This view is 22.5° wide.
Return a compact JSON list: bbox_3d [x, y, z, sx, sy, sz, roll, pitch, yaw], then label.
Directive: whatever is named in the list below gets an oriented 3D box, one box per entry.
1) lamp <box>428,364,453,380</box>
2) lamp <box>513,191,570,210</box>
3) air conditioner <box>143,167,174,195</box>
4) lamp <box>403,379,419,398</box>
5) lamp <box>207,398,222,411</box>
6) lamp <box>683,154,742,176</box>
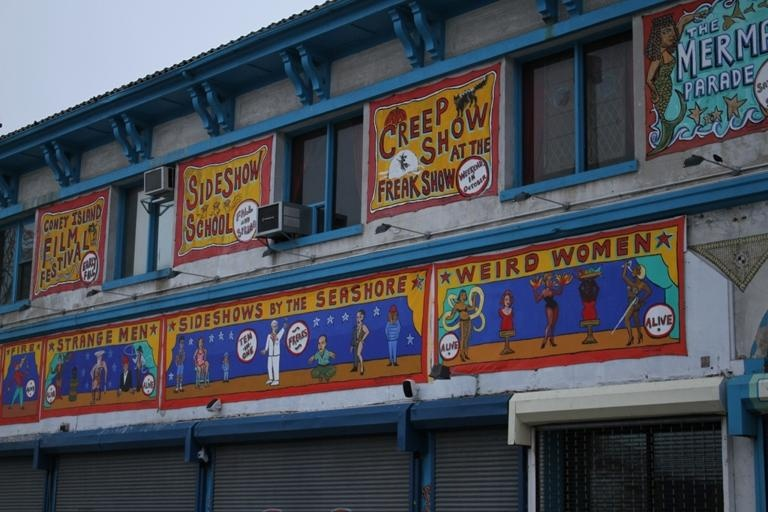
[{"bbox_3d":[1.202,2.502,41.707,0.296,0.337,0.384,24,-18,-38],"label":"lamp"},{"bbox_3d":[3.350,-1.274,41.150,0.810,0.255,0.497,20,-8,-20],"label":"lamp"},{"bbox_3d":[-5.551,-1.918,47.251,0.758,0.632,0.423,-17,-22,35],"label":"air conditioner"},{"bbox_3d":[0.534,2.894,42.086,0.330,0.454,0.349,-7,-13,26],"label":"lamp"},{"bbox_3d":[-4.033,3.462,44.997,0.362,0.323,0.203,-13,-20,26],"label":"lamp"},{"bbox_3d":[6.690,-1.964,39.457,0.867,0.330,0.488,24,1,44],"label":"lamp"}]
